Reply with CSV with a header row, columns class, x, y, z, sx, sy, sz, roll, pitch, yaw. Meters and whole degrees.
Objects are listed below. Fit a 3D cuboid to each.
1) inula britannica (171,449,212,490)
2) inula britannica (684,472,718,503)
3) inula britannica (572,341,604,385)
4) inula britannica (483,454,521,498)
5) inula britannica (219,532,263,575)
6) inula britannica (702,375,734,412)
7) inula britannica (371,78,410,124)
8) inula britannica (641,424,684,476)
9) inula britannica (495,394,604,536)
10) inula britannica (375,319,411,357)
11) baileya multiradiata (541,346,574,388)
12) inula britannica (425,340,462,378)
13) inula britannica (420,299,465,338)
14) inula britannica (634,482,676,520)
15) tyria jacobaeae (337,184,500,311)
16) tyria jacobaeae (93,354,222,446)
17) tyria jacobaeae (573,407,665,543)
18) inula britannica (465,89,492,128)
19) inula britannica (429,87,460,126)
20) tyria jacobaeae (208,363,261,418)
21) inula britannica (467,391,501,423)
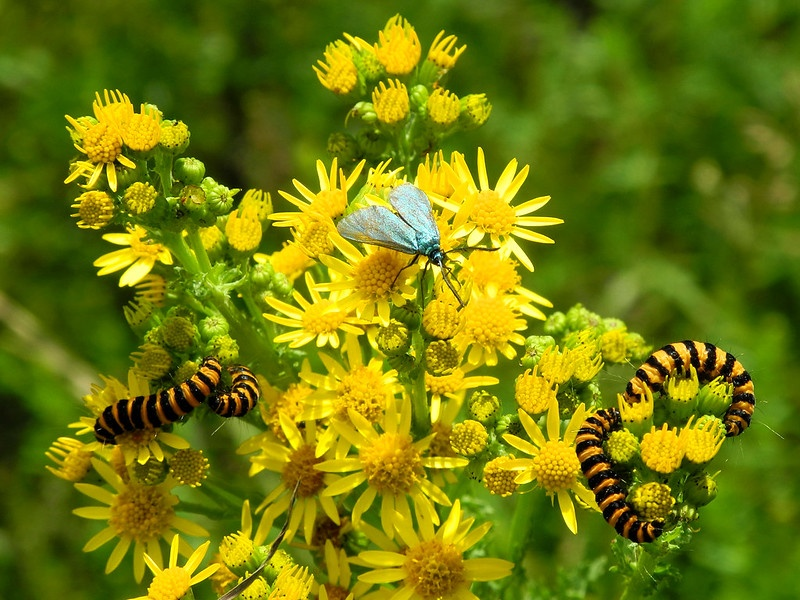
class,x,y,z,sx,sy,sz,roll,pitch,yaw
inula britannica,-1.453,1.152,6.171,0.234,0.080,0.274,-5,85,2
inula britannica,1.983,1.244,5.961,0.181,0.198,0.251,7,110,5
inula britannica,1.294,0.430,6.215,0.262,0.231,0.260,-11,83,-4
inula britannica,0.668,1.184,6.077,0.211,0.115,0.259,-2,89,-2
inula britannica,-1.084,1.706,6.075,0.226,0.142,0.285,-27,79,-24
inula britannica,2.124,0.648,6.058,0.217,0.070,0.252,7,83,-2
inula britannica,-0.072,-1.429,6.513,0.232,0.178,0.350,1,92,1
inula britannica,1.714,0.986,5.894,0.259,0.232,0.336,-2,96,14
inula britannica,1.012,1.066,5.996,0.730,0.291,0.821,6,123,-21
inula britannica,-0.041,0.254,5.957,0.216,0.075,0.222,-32,86,-6
baileya multiradiata,1.044,0.445,6.125,0.213,0.257,0.240,-5,47,-2
inula britannica,0.280,0.377,5.958,0.234,0.086,0.221,-2,83,-3
inula britannica,0.280,0.139,6.029,0.269,0.239,0.251,7,82,-1
inula britannica,1.642,1.312,5.853,0.277,0.053,0.230,2,83,-2
tyria jacobaeae,0.078,-0.384,6.018,0.948,0.259,0.594,42,83,2
tyria jacobaeae,-1.640,0.709,6.072,0.976,0.384,0.306,-24,84,-5
tyria jacobaeae,1.420,1.188,5.888,0.393,0.345,0.921,-20,85,-5
inula britannica,0.568,-1.410,6.728,0.217,0.216,0.239,-4,83,-3
inula britannica,0.312,-1.411,6.575,0.261,0.195,0.267,25,83,1
tyria jacobaeae,-1.085,0.583,6.024,0.283,0.365,0.356,0,91,-23
inula britannica,0.560,0.730,6.207,0.158,0.204,0.188,0,98,-7
